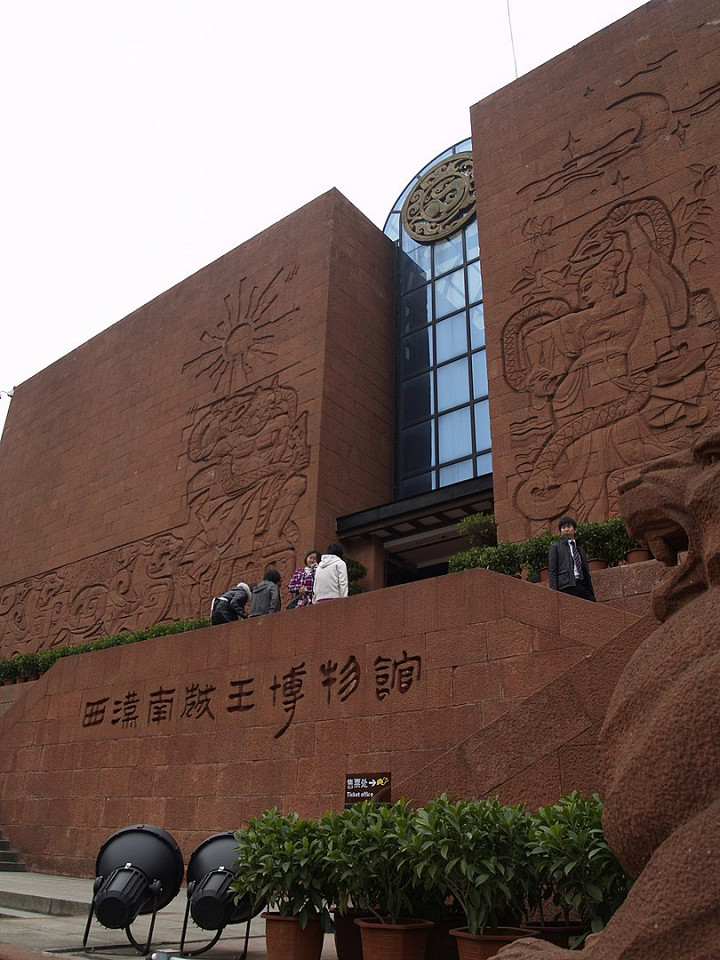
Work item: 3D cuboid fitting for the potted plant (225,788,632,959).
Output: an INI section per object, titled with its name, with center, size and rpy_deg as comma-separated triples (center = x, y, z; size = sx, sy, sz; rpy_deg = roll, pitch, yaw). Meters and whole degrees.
[potted plant]
center = 0.264, 1.505, 3.217
size = 1.632, 0.516, 0.442
rpy_deg = -20, -36, 32

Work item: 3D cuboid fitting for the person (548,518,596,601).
[person]
center = 1.517, 0.555, 6.067
size = 0.287, 0.842, 0.514
rpy_deg = -7, -31, 14

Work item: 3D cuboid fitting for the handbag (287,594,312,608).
[handbag]
center = -0.608, 1.194, 8.022
size = 0.248, 0.100, 0.176
rpy_deg = -5, -7, 35
